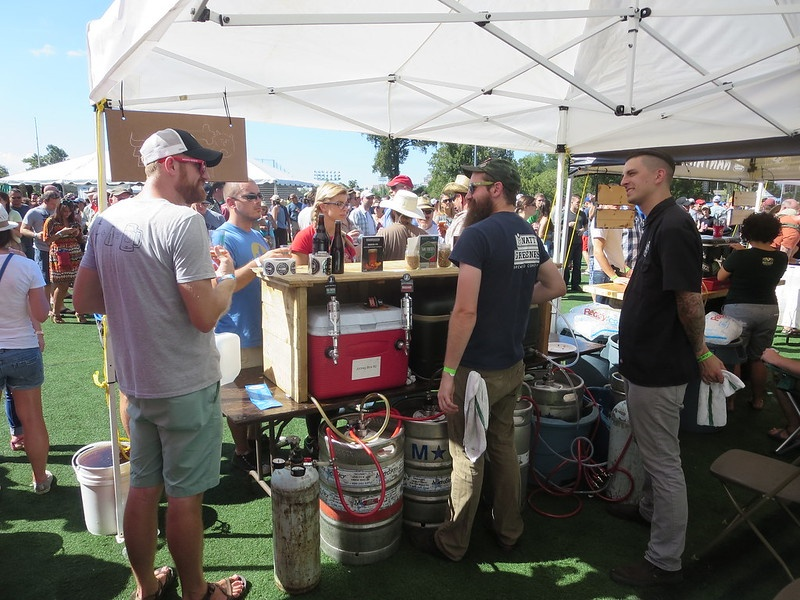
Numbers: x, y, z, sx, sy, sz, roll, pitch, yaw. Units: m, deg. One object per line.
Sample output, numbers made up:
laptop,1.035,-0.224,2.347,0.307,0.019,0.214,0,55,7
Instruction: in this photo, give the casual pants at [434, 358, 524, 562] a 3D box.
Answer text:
casual pants,0.588,1.128,4.348,0.696,1.396,0.236,-6,12,-24

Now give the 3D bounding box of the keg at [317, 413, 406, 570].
keg,-0.281,1.351,4.527,0.643,0.923,0.638,-3,11,-19

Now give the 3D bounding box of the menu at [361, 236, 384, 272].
menu,-0.203,-0.340,4.434,0.236,0.323,0.042,-4,15,-28

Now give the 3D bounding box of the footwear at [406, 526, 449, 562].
footwear,0.177,1.734,4.479,0.323,0.314,0.146,7,14,26

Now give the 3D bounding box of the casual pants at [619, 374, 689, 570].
casual pants,1.819,1.212,4.305,0.361,1.273,0.418,-2,11,-5

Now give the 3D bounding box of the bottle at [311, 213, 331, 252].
bottle,-0.566,-0.485,4.419,0.119,0.265,0.363,-2,10,-7

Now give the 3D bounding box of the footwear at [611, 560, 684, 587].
footwear,1.669,1.879,4.258,0.493,0.208,0.183,2,-4,1

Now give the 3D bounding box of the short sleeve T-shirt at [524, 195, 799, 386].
short sleeve T-shirt,2.098,-0.150,5.010,1.067,1.934,1.426,0,13,8

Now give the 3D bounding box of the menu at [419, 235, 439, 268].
menu,0.214,-0.380,4.698,0.224,0.301,0.040,-7,16,-39

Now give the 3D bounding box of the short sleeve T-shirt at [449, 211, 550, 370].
short sleeve T-shirt,0.664,-0.065,4.213,0.672,1.063,0.248,-10,14,-40
